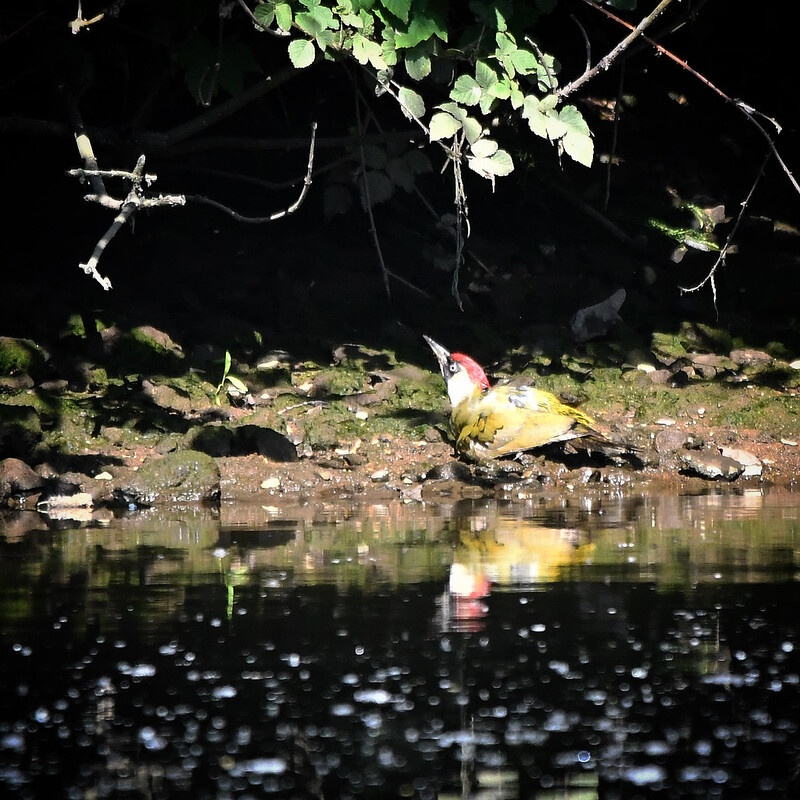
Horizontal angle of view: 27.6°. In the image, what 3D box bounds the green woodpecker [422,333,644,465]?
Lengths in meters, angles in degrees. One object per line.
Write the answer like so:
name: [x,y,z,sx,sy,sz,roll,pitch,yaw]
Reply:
green woodpecker: [0.918,0.060,10.332,1.551,0.879,0.503,7,37,26]
